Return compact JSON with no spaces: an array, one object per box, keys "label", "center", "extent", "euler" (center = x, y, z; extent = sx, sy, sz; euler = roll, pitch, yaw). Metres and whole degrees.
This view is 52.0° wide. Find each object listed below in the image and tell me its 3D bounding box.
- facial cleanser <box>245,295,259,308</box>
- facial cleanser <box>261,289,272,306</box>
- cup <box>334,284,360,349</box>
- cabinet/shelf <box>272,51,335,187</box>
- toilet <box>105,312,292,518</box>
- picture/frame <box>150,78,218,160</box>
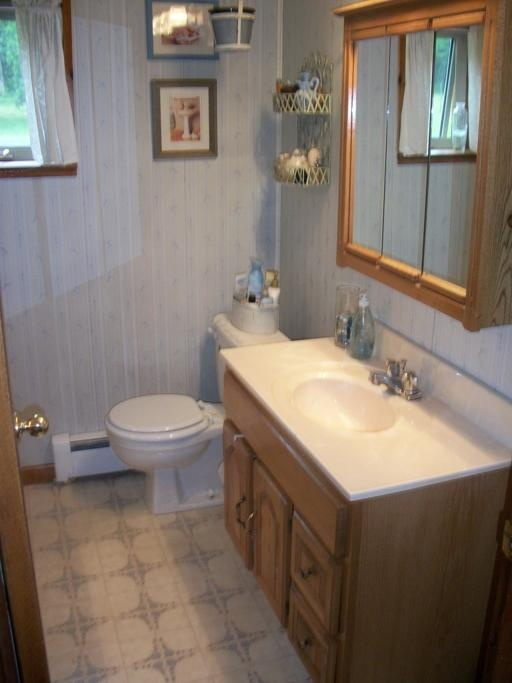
[{"label":"facial cleanser","center":[-0.011,-0.165,2.195],"extent":[0.043,0.039,0.101],"euler":[0,16,-3]},{"label":"facial cleanser","center":[0.045,-0.176,2.204],"extent":[0.035,0.082,0.015],"euler":[2,-8,1]},{"label":"cup","center":[0.303,-0.115,1.789],"extent":[0.060,0.242,0.097],"euler":[6,34,14]},{"label":"cabinet/shelf","center":[0.166,-0.825,1.944],"extent":[0.085,0.438,0.260],"euler":[-7,21,-18]},{"label":"toilet","center":[-0.271,0.336,2.322],"extent":[0.519,0.855,0.396],"euler":[-3,24,-23]},{"label":"picture/frame","center":[-0.299,-0.966,2.265],"extent":[0.244,0.394,0.026],"euler":[-3,-17,-11]}]
